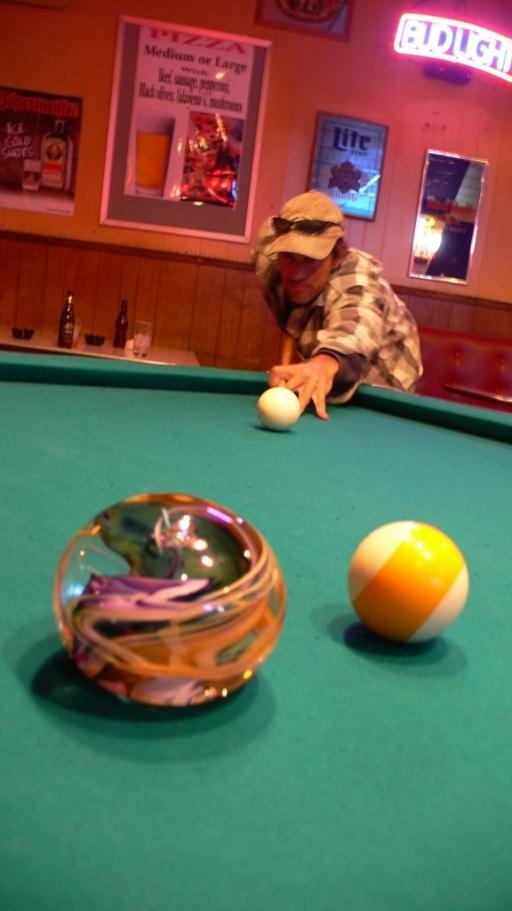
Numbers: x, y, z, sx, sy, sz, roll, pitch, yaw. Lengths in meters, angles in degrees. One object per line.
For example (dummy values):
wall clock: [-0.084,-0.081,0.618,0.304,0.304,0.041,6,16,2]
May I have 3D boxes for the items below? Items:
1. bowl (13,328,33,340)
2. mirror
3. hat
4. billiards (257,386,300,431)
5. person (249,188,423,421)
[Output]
bowl: [-1.438,-0.743,3.703,0.088,0.056,0.107,2,-3,-17]
mirror: [1.542,-1.897,4.838,0.549,0.965,0.077,4,10,-16]
hat: [0.234,-0.999,2.589,0.246,0.218,0.386,8,29,23]
billiards: [0.061,-0.124,1.681,0.105,0.137,0.108,-6,-15,40]
person: [0.295,-0.536,2.416,0.620,0.445,1.265,29,26,-17]
